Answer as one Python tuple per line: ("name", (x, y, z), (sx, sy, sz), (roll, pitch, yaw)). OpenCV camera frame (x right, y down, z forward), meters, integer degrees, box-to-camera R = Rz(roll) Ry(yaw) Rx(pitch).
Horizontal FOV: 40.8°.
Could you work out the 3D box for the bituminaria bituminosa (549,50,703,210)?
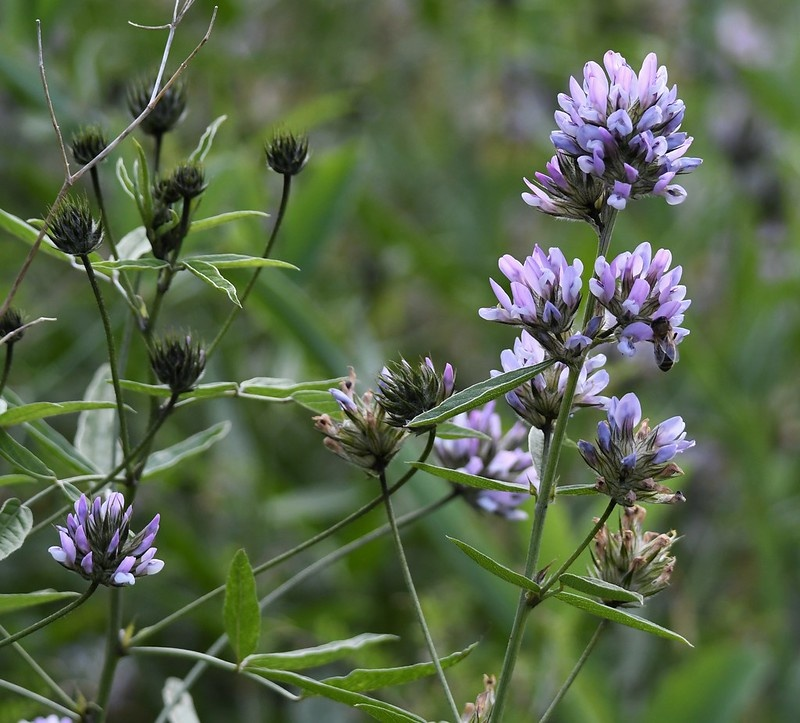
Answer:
("bituminaria bituminosa", (0.150, -0.137, 0.692), (0.084, 0.091, 0.110), (6, -46, 25))
